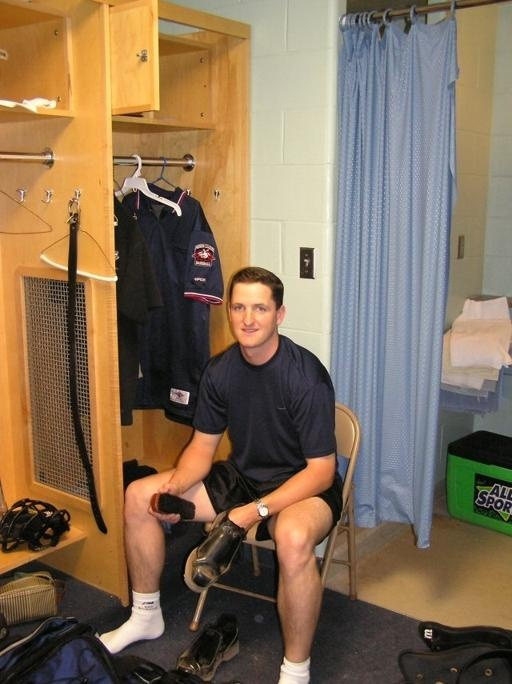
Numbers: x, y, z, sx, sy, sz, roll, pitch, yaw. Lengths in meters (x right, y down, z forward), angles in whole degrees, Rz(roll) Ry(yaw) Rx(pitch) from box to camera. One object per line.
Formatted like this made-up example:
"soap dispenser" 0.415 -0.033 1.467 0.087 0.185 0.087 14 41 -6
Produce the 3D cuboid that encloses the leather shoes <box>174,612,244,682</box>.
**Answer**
"leather shoes" -0.129 0.920 1.718 0.077 0.087 0.227 1 -7 23

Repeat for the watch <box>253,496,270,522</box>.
"watch" 0.008 0.476 1.635 0.038 0.060 0.057 -4 15 -8

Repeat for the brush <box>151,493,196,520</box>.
"brush" -0.239 0.472 1.650 0.036 0.075 0.158 -20 -27 38

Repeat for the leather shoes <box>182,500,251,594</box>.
"leather shoes" -0.107 0.557 1.558 0.103 0.097 0.262 -38 21 52
